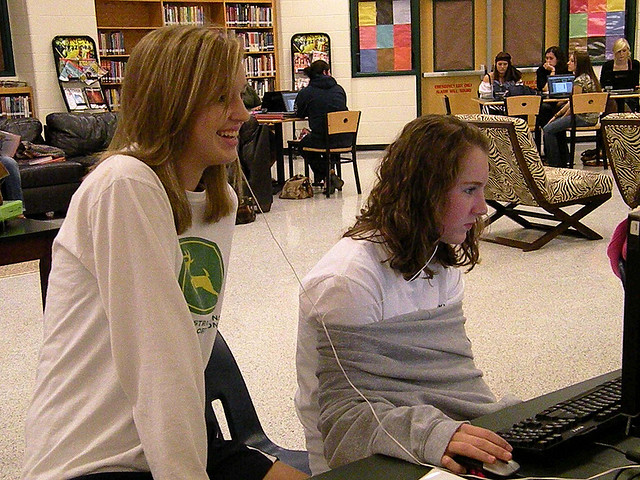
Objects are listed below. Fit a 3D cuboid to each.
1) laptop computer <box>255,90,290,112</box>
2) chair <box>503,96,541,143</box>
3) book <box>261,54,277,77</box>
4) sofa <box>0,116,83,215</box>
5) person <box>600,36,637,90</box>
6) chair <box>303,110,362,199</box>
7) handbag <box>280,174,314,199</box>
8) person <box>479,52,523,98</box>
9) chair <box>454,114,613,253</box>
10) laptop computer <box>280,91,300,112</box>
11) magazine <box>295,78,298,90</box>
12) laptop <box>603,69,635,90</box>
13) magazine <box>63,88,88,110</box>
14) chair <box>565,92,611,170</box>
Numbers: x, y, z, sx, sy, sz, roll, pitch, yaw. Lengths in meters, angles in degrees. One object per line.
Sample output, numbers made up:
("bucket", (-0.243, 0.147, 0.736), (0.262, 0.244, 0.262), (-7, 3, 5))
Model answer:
("laptop computer", (-0.698, -2.096, 8.202), (0.432, 0.325, 0.291), (0, -21, 10))
("chair", (3.005, -1.844, 7.871), (0.568, 0.848, 0.601), (-2, -14, 20))
("book", (-0.961, -3.242, 10.139), (0.347, 0.468, 0.473), (-3, 10, -5))
("sofa", (-3.616, -1.037, 6.924), (0.817, 1.169, 2.012), (-9, 15, -29))
("person", (4.856, -2.847, 8.675), (0.517, 0.746, 0.232), (3, 14, 22))
("chair", (0.129, -1.233, 7.420), (0.699, 1.126, 0.785), (-8, 20, -21))
("handbag", (-0.323, -0.657, 6.976), (0.480, 0.343, 0.264), (0, 3, 25))
("person", (3.027, -2.717, 8.916), (0.739, 0.721, 0.406), (3, 18, 17))
("chair", (1.972, -0.540, 4.969), (1.319, 1.053, 1.140), (-3, 9, 3))
("laptop computer", (-0.487, -2.101, 8.082), (0.217, 0.293, 0.368), (-1, 13, 4))
("magazine", (-0.472, -2.997, 10.214), (0.056, 0.211, 0.077), (-2, 13, 1))
("laptop", (4.858, -2.617, 8.670), (0.500, 0.345, 0.352), (3, 13, 23))
("magazine", (-3.633, -2.105, 7.919), (0.084, 0.314, 0.325), (-13, 0, 44))
("chair", (4.205, -1.661, 8.089), (0.675, 1.022, 0.634), (2, 7, -41))
